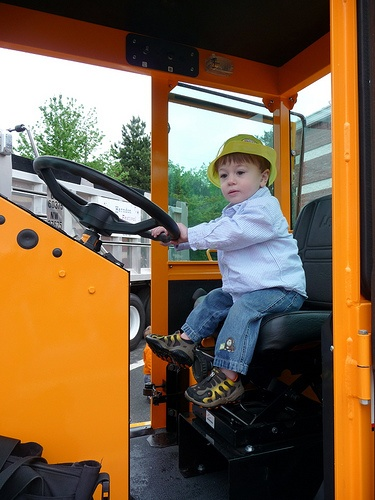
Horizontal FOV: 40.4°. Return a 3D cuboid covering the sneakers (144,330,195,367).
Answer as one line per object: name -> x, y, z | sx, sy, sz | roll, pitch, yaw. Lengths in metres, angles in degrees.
sneakers -> -0.073, 0.344, 1.887 | 0.228, 0.115, 0.077 | 29, -21, -29

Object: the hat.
hat -> 0.230, -0.375, 2.056 | 0.235, 0.147, 0.283 | 10, -17, 8

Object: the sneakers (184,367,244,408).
sneakers -> 0.095, 0.454, 1.682 | 0.212, 0.099, 0.115 | -4, 8, -26
